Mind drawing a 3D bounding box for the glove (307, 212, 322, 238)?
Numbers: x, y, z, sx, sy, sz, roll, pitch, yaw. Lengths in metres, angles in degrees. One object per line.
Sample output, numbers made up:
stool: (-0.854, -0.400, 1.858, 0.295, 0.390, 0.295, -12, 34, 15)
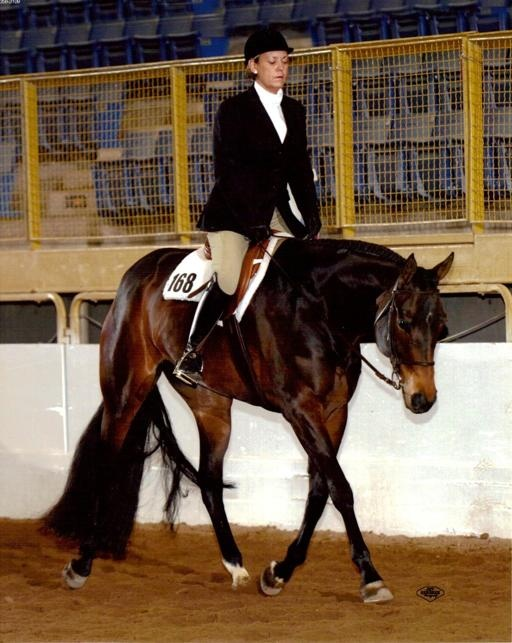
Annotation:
glove: (0.270, -0.470, 6.409, 0.091, 0.114, 0.043, -2, 8, -26)

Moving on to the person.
person: (-0.042, -0.528, 6.305, 0.682, 1.678, 0.311, 1, 4, 2)

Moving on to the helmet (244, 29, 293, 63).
helmet: (0.043, -1.296, 6.219, 0.192, 0.103, 0.144, -11, 6, 29)

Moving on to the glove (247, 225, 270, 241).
glove: (0.005, -0.406, 6.189, 0.066, 0.025, 0.085, 11, -39, -13)

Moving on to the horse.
horse: (-0.050, 0.497, 6.447, 2.350, 1.738, 0.566, -6, -9, 39)
